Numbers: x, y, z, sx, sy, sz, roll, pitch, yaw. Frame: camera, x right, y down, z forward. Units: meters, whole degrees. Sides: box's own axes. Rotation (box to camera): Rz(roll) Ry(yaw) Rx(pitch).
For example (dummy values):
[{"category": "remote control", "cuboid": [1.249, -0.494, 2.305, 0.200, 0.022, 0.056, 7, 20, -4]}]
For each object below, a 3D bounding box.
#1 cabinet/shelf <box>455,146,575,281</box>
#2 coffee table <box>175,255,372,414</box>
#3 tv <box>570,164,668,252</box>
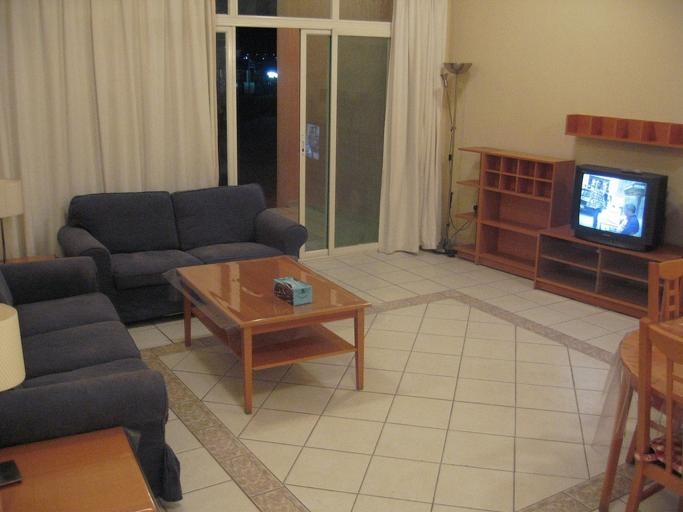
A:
[{"category": "cabinet/shelf", "cuboid": [1.967, -0.494, 6.472, 0.359, 1.331, 1.328, -10, 19, -32]}, {"category": "coffee table", "cuboid": [-0.460, 0.219, 4.013, 1.004, 0.594, 1.505, -8, 21, -29]}, {"category": "tv", "cuboid": [2.688, -0.465, 5.290, 0.402, 0.662, 0.728, -11, 18, -37]}]
